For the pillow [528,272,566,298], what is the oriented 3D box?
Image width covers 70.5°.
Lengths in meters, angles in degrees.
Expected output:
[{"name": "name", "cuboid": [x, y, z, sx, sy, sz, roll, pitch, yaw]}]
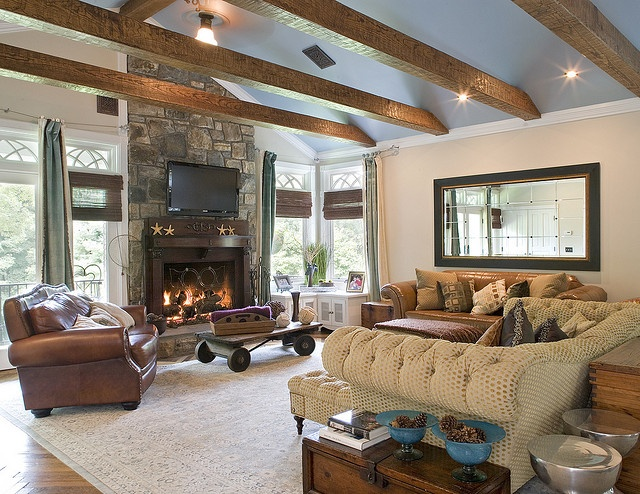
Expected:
[{"name": "pillow", "cuboid": [2.569, 0.414, 5.103, 0.139, 0.320, 0.368, 36, -40, -26]}]

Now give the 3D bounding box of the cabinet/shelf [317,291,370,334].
[{"name": "cabinet/shelf", "cuboid": [0.367, 1.041, 7.264, 0.530, 0.546, 0.698, -2, -1, -42]}]

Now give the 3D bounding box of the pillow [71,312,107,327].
[{"name": "pillow", "cuboid": [-2.106, 0.670, 4.144, 0.179, 0.043, 0.164, 17, 1, 31]}]

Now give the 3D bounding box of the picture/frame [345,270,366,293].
[{"name": "picture/frame", "cuboid": [0.588, 0.550, 7.239, 0.441, 0.376, 0.047, 4, -13, 33]}]

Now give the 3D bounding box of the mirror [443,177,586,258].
[{"name": "mirror", "cuboid": [2.509, -0.375, 5.886, 2.297, 0.995, 0.047, -5, 8, -19]}]

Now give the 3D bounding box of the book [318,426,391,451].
[{"name": "book", "cuboid": [0.199, 1.000, 2.366, 0.272, 0.044, 0.264, -1, -4, 42]}]

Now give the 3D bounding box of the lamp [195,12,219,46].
[{"name": "lamp", "cuboid": [-1.319, -2.480, 5.357, 0.182, 0.354, 0.704, -2, 3, -9]}]

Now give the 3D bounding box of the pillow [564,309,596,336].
[{"name": "pillow", "cuboid": [1.741, 0.512, 3.061, 0.163, 0.043, 0.153, -27, 8, -7]}]

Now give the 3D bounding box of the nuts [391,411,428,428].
[{"name": "nuts", "cuboid": [0.431, 0.841, 2.189, 0.180, 0.048, 0.086, 0, 3, 4]}]

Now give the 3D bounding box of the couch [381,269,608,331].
[{"name": "couch", "cuboid": [1.913, 0.805, 5.691, 0.968, 0.825, 2.558, -8, 2, -32]}]

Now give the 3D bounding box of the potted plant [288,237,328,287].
[{"name": "potted plant", "cuboid": [-0.081, 0.255, 7.641, 0.602, 0.749, 0.673, -2, 4, -18]}]

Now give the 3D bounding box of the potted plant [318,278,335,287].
[{"name": "potted plant", "cuboid": [0.073, 0.590, 7.417, 0.302, 0.107, 0.228, 0, 3, 21]}]

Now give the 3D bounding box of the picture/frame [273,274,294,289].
[{"name": "picture/frame", "cuboid": [-0.586, 0.545, 7.175, 0.268, 0.202, 0.083, -17, 3, -34]}]

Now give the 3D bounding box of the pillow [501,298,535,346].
[{"name": "pillow", "cuboid": [1.310, 0.494, 2.972, 0.124, 0.197, 0.264, 18, -4, 14]}]

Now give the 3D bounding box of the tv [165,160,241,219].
[{"name": "tv", "cuboid": [-1.618, -0.795, 6.298, 0.107, 0.700, 1.223, 7, 7, 38]}]

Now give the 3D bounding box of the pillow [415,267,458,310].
[{"name": "pillow", "cuboid": [1.525, 0.580, 6.125, 0.783, 0.588, 0.274, 13, -5, -37]}]

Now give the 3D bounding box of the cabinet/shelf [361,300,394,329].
[{"name": "cabinet/shelf", "cuboid": [0.792, 0.922, 6.327, 0.397, 0.319, 0.600, -2, 3, -43]}]

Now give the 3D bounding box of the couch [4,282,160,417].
[{"name": "couch", "cuboid": [-2.051, 0.787, 4.417, 1.377, 0.998, 1.461, 0, 2, -9]}]

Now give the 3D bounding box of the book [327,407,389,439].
[{"name": "book", "cuboid": [0.198, 0.946, 2.428, 0.180, 0.029, 0.175, 0, 2, -45]}]

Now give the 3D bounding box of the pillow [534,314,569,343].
[{"name": "pillow", "cuboid": [1.383, 0.506, 2.722, 0.188, 0.161, 0.082, -23, -43, -2]}]
